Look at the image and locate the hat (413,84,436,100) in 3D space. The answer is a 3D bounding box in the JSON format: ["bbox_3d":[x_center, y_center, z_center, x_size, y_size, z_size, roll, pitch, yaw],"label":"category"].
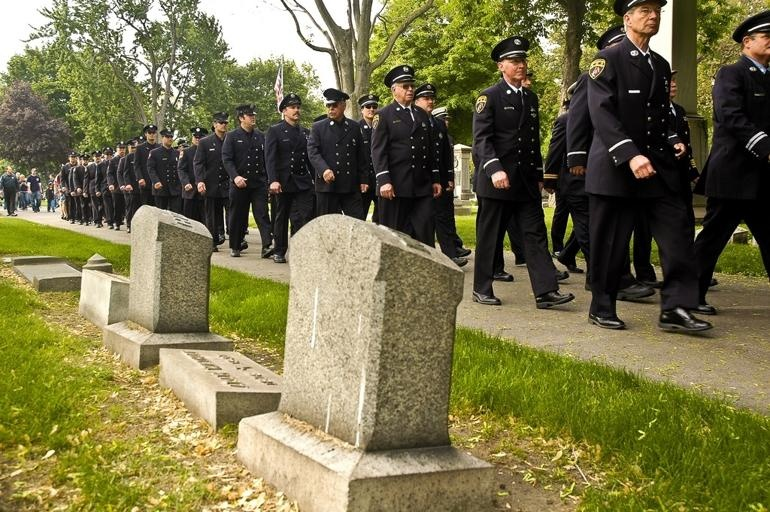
[{"bbox_3d":[0.599,-2.446,10.715,0.255,0.298,0.622,4,4,5],"label":"hat"}]

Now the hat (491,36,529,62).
[{"bbox_3d":[1.437,-2.378,8.364,0.353,0.160,0.358,0,-1,-27],"label":"hat"}]

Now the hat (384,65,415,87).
[{"bbox_3d":[0.207,-2.431,9.568,0.338,0.131,0.354,2,-13,-28],"label":"hat"}]

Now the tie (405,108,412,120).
[{"bbox_3d":[0.333,-1.881,9.571,0.115,0.161,0.057,4,4,9],"label":"tie"}]

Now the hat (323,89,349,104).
[{"bbox_3d":[-0.784,-2.560,11.564,0.382,0.258,0.603,3,4,-6],"label":"hat"}]
